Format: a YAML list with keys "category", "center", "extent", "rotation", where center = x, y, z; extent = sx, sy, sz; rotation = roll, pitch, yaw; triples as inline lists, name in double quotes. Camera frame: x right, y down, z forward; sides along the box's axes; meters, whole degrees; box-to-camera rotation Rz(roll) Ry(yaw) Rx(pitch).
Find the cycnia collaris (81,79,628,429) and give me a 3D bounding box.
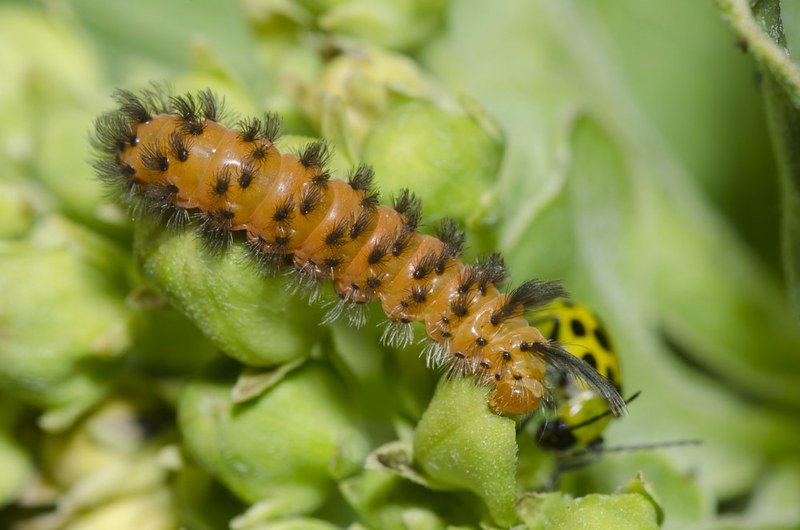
- category: "cycnia collaris"
  center: [-0.146, -0.054, 2.109]
  extent: [1.343, 0.229, 0.377]
  rotation: [29, 78, 1]
